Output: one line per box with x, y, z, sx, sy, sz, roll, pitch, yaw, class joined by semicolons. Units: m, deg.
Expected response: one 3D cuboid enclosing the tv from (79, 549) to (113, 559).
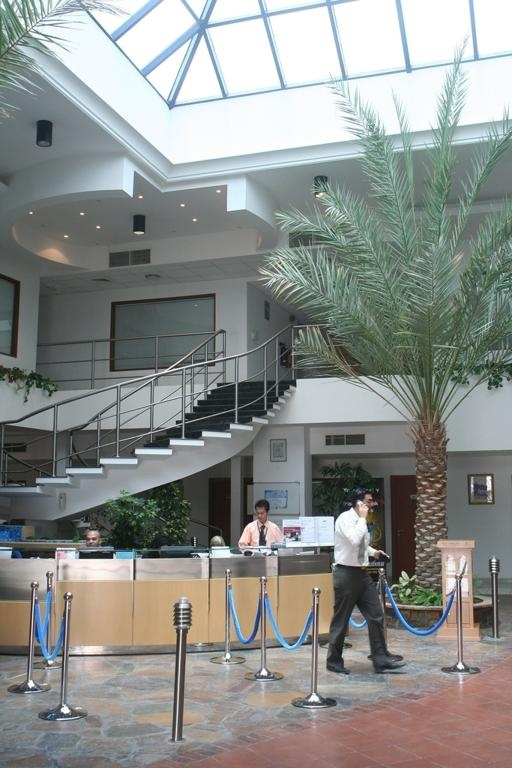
-1.596;1.701;6.325;0.331;0.102;0.046;0;-7;-5;tv

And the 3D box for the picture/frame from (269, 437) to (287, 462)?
0.428;1.274;12.121;0.468;0.603;0.022;-1;-5;8;picture/frame

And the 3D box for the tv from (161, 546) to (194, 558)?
-0.802;1.724;6.460;0.376;0.096;0.103;0;-7;-11;tv

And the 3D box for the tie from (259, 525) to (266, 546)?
0.073;1.798;7.517;0.086;0.226;0.073;0;-7;-5;tie

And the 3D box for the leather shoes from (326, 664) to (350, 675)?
0.687;2.371;5.256;0.068;0.067;0.183;14;-21;-35;leather shoes

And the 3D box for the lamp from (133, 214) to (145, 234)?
-2.389;-3.228;12.986;0.249;0.422;0.615;1;-7;-11;lamp

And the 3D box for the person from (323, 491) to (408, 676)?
0.886;1.707;5.353;0.631;1.510;0.701;-2;-7;11;person

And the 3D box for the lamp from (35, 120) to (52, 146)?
-3.150;-3.733;9.411;0.235;0.379;0.286;2;-7;-19;lamp

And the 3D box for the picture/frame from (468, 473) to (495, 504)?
4.669;2.189;13.069;0.648;0.797;0.054;1;-4;15;picture/frame
